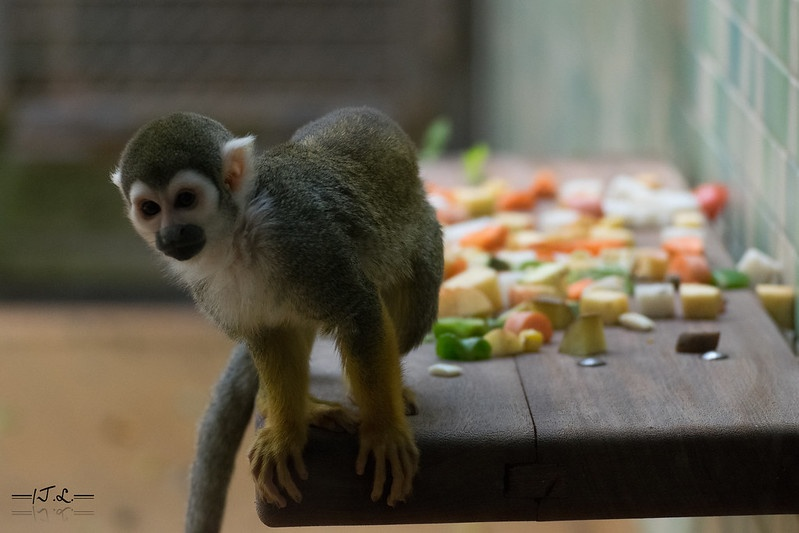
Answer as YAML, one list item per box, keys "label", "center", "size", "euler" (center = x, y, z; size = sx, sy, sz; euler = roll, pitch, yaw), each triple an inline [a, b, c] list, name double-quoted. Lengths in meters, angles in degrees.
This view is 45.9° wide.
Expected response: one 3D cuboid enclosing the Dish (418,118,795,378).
- label: "Dish"
  center: [0.663, -0.149, 3.622]
  size: [1.161, 0.278, 1.590]
  euler: [-3, 25, 0]
